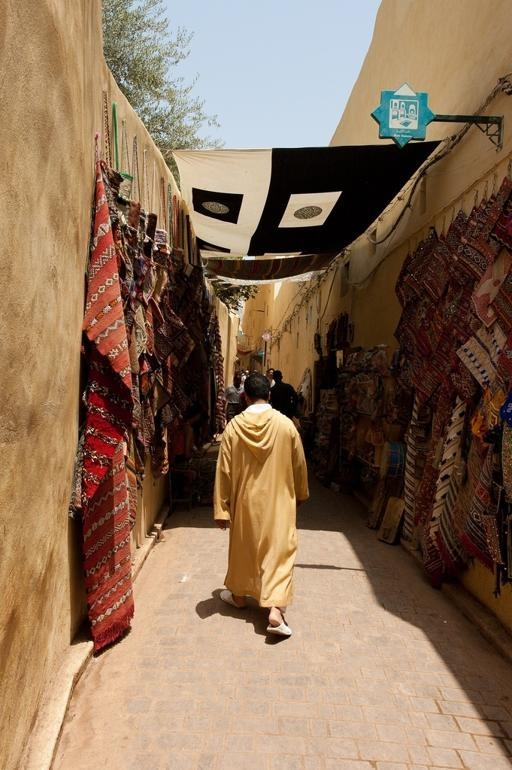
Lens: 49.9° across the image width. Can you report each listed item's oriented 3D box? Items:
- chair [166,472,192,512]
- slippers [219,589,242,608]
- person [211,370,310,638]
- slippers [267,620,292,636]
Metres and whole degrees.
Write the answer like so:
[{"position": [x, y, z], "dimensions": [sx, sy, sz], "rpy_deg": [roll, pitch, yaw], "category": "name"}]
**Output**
[{"position": [-0.843, 1.154, 5.970], "dimensions": [0.159, 0.339, 0.580], "rpy_deg": [0, -1, -4], "category": "chair"}, {"position": [-0.159, 1.305, 3.369], "dimensions": [0.062, 0.040, 0.124], "rpy_deg": [-11, 26, -44], "category": "slippers"}, {"position": [0.010, 0.631, 3.193], "dimensions": [0.532, 1.137, 0.469], "rpy_deg": [3, 1, 7], "category": "person"}, {"position": [0.119, 1.276, 2.918], "dimensions": [0.122, 0.056, 0.071], "rpy_deg": [0, 11, -5], "category": "slippers"}]
